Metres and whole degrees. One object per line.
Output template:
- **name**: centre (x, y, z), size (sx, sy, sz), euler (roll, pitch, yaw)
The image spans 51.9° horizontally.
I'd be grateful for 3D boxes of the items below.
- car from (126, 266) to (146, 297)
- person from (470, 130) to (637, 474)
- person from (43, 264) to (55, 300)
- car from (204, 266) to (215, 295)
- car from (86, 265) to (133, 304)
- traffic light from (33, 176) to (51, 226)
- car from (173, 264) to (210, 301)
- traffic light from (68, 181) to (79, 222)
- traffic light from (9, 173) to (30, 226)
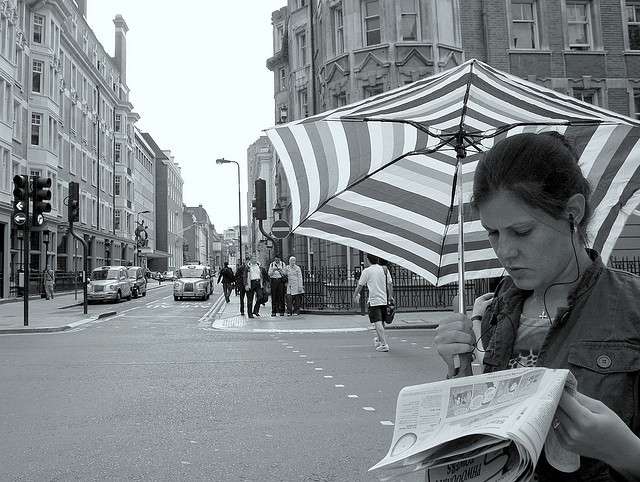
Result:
- **car**: centre (-10.034, 2.199, 35.834), size (0.937, 0.954, 1.663), euler (-1, -7, -4)
- **person**: centre (0.916, 0.150, 2.646), size (0.619, 1.382, 0.972), euler (-1, -3, 13)
- **person**: centre (-13.480, 2.058, 32.662), size (0.391, 1.641, 0.999), euler (1, -4, -26)
- **car**: centre (-5.863, 2.167, 36.466), size (0.993, 1.217, 1.848), euler (0, -9, -7)
- **car**: centre (-9.809, 2.058, 30.861), size (1.752, 1.751, 3.529), euler (0, -4, -16)
- **traffic light**: centre (-6.836, -1.013, 16.147), size (0.402, 1.281, 1.428), euler (1, -4, -24)
- **car**: centre (-6.491, 2.172, 33.442), size (1.732, 1.734, 2.763), euler (0, -4, -10)
- **traffic light**: centre (-7.665, -1.227, 20.541), size (0.333, 1.245, 0.343), euler (-1, -6, -10)
- **traffic light**: centre (-7.459, -1.064, 16.363), size (0.363, 1.401, 2.237), euler (1, -4, -25)
